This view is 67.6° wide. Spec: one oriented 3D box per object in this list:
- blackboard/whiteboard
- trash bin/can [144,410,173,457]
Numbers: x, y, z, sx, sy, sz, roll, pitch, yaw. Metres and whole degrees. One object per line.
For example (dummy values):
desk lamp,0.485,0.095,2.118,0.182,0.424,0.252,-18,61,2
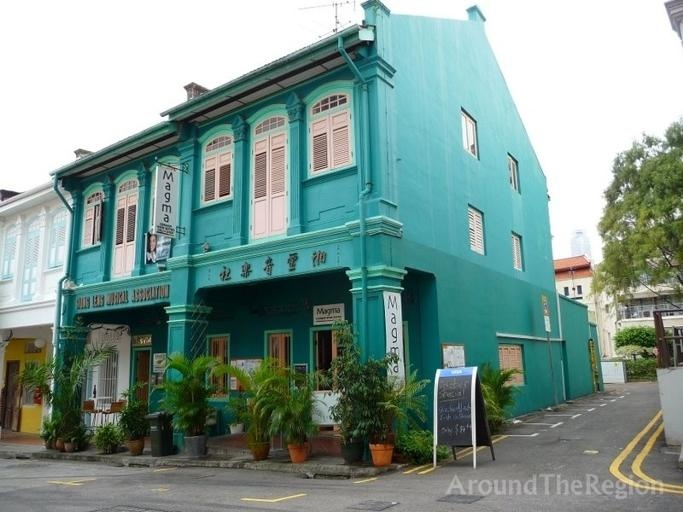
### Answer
blackboard/whiteboard,2.482,3.263,11.140,0.895,1.567,0.675,-8,-11,28
trash bin/can,-5.070,5.031,14.450,0.710,1.204,0.794,-8,-13,35
